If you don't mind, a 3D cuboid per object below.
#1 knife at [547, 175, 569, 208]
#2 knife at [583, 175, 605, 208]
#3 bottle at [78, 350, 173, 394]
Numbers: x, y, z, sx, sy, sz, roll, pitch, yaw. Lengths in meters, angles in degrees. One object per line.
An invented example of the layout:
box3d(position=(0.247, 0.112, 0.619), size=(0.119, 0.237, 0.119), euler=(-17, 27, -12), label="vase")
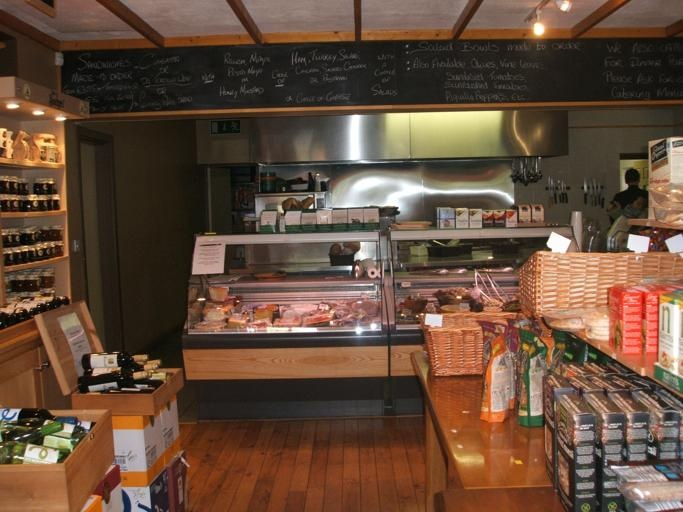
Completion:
box3d(position=(2.668, -0.811, 6.860), size=(0.313, 0.354, 0.094), euler=(-6, 13, -17), label="knife")
box3d(position=(3.137, -0.788, 6.913), size=(0.288, 0.363, 0.105), euler=(1, 13, 12), label="knife")
box3d(position=(-1.139, 0.596, 2.848), size=(0.321, 0.083, 0.244), euler=(3, 14, 1), label="bottle")
